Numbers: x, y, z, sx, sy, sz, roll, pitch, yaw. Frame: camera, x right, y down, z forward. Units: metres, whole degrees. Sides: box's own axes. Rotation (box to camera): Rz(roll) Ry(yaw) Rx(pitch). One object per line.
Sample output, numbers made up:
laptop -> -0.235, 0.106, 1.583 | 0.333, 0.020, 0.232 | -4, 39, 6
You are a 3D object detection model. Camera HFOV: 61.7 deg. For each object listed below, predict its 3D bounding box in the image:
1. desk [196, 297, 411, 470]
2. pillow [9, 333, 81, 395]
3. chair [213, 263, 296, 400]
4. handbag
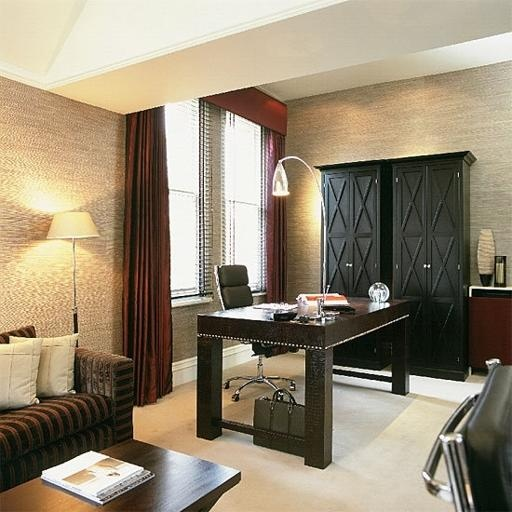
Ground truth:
desk -> 0.210, 0.638, 3.788 | 1.053, 1.035, 1.980 | 3, 16, 17
pillow -> -1.274, 0.656, 2.565 | 0.307, 0.319, 0.125 | -6, -32, 5
chair -> -0.017, 0.663, 4.018 | 0.648, 1.170, 0.611 | -2, 0, 31
handbag -> 0.151, 1.146, 2.916 | 0.298, 0.325, 0.120 | -2, -8, 31
